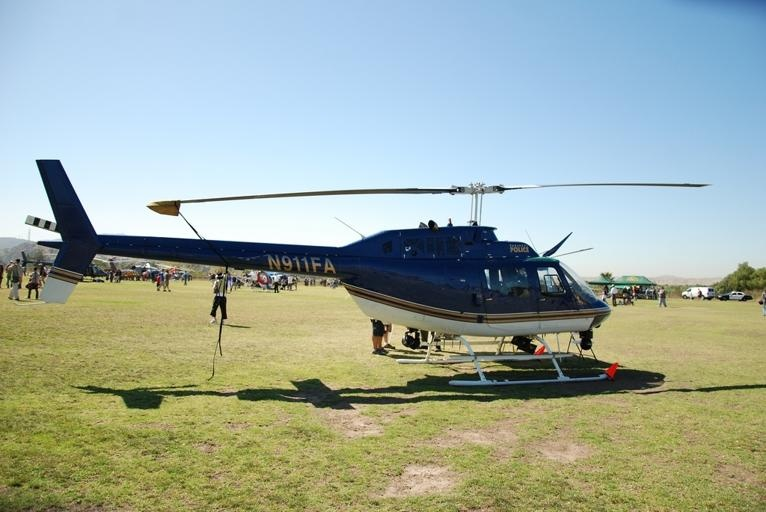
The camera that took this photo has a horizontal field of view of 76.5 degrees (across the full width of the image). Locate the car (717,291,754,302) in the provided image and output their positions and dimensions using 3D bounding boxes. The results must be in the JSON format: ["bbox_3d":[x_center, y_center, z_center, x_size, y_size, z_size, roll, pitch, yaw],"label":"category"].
[{"bbox_3d":[50.964,6.040,70.435,4.578,0.966,2.128,1,-1,21],"label":"car"}]

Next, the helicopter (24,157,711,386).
[{"bbox_3d":[-0.101,0.869,14.077,17.296,3.602,13.372,5,-12,-20],"label":"helicopter"}]
